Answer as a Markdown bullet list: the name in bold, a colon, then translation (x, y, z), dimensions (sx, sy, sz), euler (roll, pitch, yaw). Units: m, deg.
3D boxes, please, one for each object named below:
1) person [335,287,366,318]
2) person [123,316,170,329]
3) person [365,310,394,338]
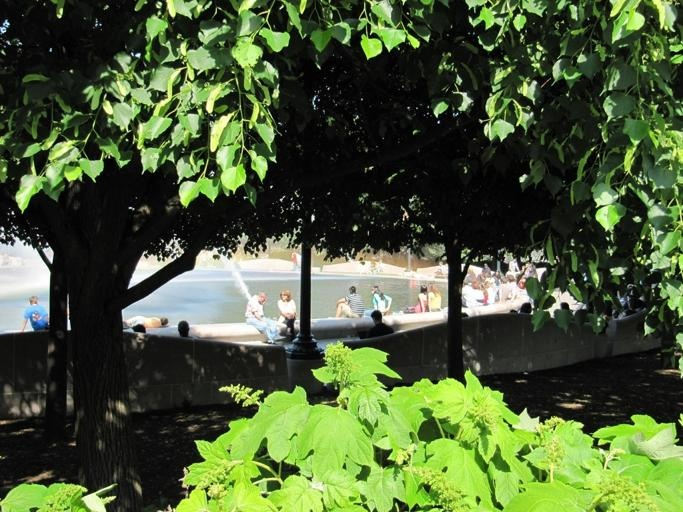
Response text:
- **person**: translation (0.223, 1.581, 18.050), dimensions (0.944, 1.130, 0.637), euler (10, 5, 13)
- **person**: translation (-5.413, 1.926, 15.411), dimensions (0.926, 0.436, 2.031), euler (-4, -8, -12)
- **person**: translation (0.908, 1.687, 13.039), dimensions (0.694, 0.755, 0.414), euler (-12, 6, -14)
